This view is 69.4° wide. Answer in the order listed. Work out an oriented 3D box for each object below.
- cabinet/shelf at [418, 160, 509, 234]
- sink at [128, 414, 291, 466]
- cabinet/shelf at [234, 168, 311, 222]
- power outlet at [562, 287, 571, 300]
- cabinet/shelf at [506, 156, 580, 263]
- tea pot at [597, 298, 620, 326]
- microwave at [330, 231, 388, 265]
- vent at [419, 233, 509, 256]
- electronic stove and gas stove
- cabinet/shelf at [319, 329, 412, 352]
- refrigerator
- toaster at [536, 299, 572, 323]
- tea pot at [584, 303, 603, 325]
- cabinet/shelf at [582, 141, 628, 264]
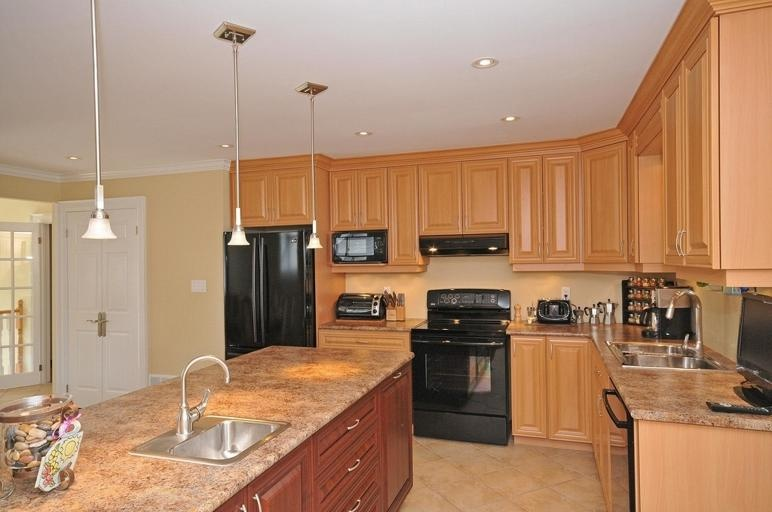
[{"bbox_3d":[0.778,-0.577,5.374,0.947,0.620,0.327,0,-3,19],"label":"cabinet/shelf"},{"bbox_3d":[-0.850,0.952,2.904,0.382,0.086,0.379,0,0,13],"label":"sink"},{"bbox_3d":[-1.092,-0.608,5.548,0.985,0.548,0.334,0,-1,15],"label":"cabinet/shelf"},{"bbox_3d":[1.747,0.376,5.425,0.080,0.120,0.118,1,12,15],"label":"power outlet"},{"bbox_3d":[1.461,-0.443,5.183,0.606,1.003,0.312,-1,14,7],"label":"cabinet/shelf"},{"bbox_3d":[2.097,0.541,5.277,0.178,0.244,0.284,3,-3,-43],"label":"tea pot"},{"bbox_3d":[-0.271,-0.090,5.670,0.705,0.331,0.364,0,-3,19],"label":"microwave"},{"bbox_3d":[0.766,-0.110,5.500,0.873,0.265,0.348,0,12,11],"label":"vent"},{"bbox_3d":[0.778,0.526,5.375,0.840,0.305,0.731,0,11,10],"label":"electronic stove and gas stove"},{"bbox_3d":[-0.216,0.799,5.377,0.908,0.198,0.081,1,14,15],"label":"cabinet/shelf"},{"bbox_3d":[-1.163,0.380,5.475,0.960,1.260,0.344,0,14,12],"label":"refrigerator"},{"bbox_3d":[1.580,0.532,5.275,0.381,0.213,0.234,-2,-13,14],"label":"toaster"},{"bbox_3d":[1.974,0.560,5.321,0.235,0.190,0.136,0,-1,44],"label":"tea pot"},{"bbox_3d":[1.901,-0.452,4.898,0.191,1.053,0.567,-9,14,-22],"label":"cabinet/shelf"}]
